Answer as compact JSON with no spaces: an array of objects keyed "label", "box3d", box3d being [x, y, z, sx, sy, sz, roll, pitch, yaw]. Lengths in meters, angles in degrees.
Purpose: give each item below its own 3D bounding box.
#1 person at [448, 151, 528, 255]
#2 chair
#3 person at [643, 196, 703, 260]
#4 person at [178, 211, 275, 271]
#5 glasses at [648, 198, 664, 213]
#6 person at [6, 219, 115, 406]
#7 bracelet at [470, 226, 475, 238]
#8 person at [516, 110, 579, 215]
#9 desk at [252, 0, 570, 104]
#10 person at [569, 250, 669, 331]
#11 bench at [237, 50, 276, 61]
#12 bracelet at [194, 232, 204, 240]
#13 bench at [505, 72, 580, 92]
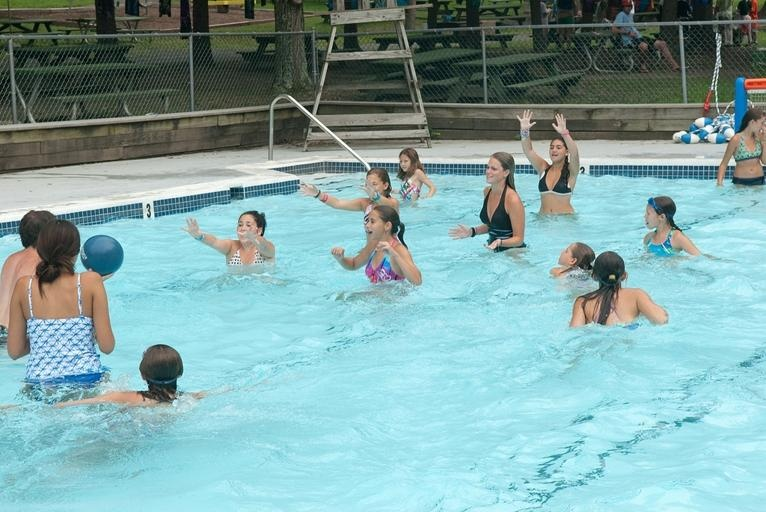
[{"label":"person","box3d":[1.388,-0.639,9.495,0.586,1.232,1.014,0,11,12]},{"label":"chair","box3d":[5.734,-5.075,18.811,1.515,1.289,4.207,1,10,16]},{"label":"person","box3d":[3.304,-0.379,9.376,0.551,0.738,0.626,-8,12,-25]},{"label":"person","box3d":[-1.673,-0.179,8.935,0.734,0.695,0.977,-3,11,-2]},{"label":"glasses","box3d":[3.127,-0.609,9.136,0.088,0.169,0.190,-8,12,-22]},{"label":"person","box3d":[-2.671,0.433,6.386,0.829,1.468,0.284,-5,12,-11]},{"label":"bracelet","box3d":[1.040,-0.300,9.202,0.074,0.113,0.108,-2,-3,5]},{"label":"person","box3d":[2.337,-1.345,11.175,0.791,1.482,1.412,-1,11,10]},{"label":"desk","box3d":[1.578,-4.622,18.617,6.131,2.025,5.592,-2,10,-1]},{"label":"person","box3d":[2.230,0.313,7.507,0.883,0.776,0.369,1,12,15]},{"label":"bench","box3d":[-3.047,-4.883,18.868,1.146,0.205,0.963,0,11,-7]},{"label":"bracelet","box3d":[-2.006,-0.226,8.500,0.096,0.061,0.088,1,8,3]},{"label":"bench","box3d":[3.767,-4.144,18.356,1.095,0.384,3.345,6,13,39]}]
